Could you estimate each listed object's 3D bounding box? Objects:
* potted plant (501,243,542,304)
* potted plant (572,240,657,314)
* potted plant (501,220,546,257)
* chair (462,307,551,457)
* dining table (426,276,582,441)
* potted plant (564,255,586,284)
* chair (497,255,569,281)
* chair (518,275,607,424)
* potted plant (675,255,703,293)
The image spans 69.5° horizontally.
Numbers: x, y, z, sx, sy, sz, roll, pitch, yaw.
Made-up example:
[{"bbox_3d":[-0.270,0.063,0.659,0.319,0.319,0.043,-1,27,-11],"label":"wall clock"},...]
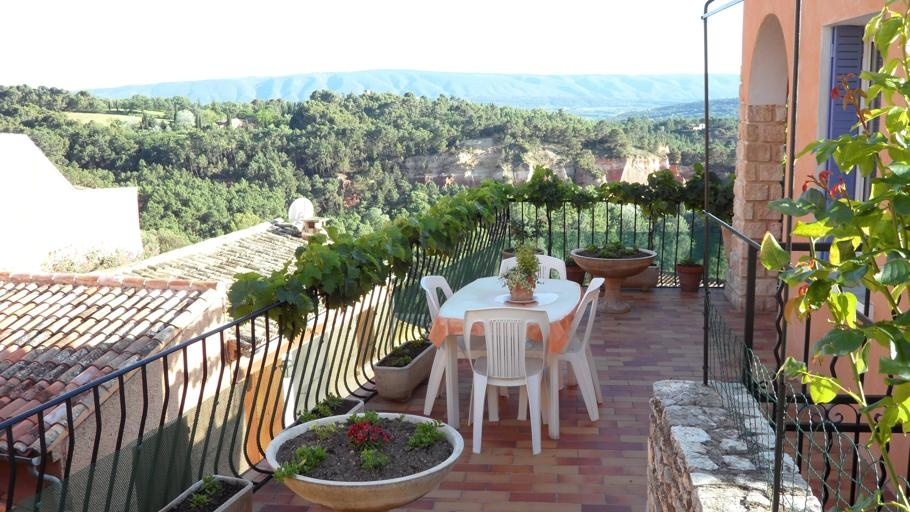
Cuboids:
[{"bbox_3d":[0.702,0.166,6.320,0.396,0.511,0.424,-3,4,-11],"label":"potted plant"},{"bbox_3d":[2.115,0.358,8.901,1.100,0.772,1.163,3,3,41],"label":"potted plant"},{"bbox_3d":[1.154,-0.341,10.643,0.717,0.662,0.698,2,1,-3],"label":"potted plant"},{"bbox_3d":[0.473,1.031,5.853,0.752,1.218,0.793,-3,13,0],"label":"chair"},{"bbox_3d":[0.492,0.729,6.293,1.346,0.889,1.729,2,9,15],"label":"dining table"},{"bbox_3d":[1.749,0.173,9.681,0.413,0.403,0.403,-3,7,-1],"label":"potted plant"},{"bbox_3d":[0.996,0.115,7.335,0.451,0.308,0.432,-1,8,1],"label":"chair"},{"bbox_3d":[1.263,0.829,6.625,1.265,1.649,1.138,1,5,10],"label":"chair"},{"bbox_3d":[3.414,0.277,9.482,0.435,0.399,0.434,3,8,21],"label":"potted plant"}]
